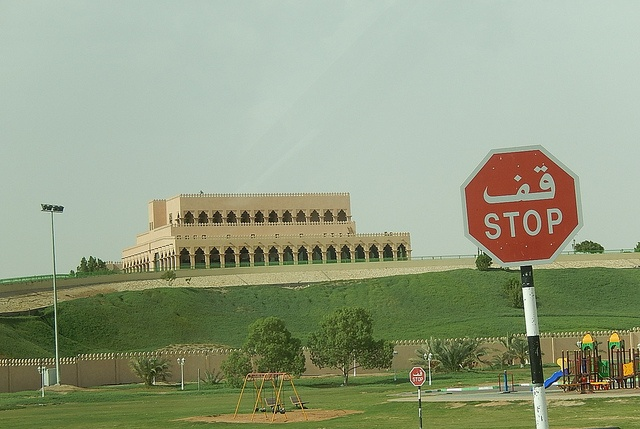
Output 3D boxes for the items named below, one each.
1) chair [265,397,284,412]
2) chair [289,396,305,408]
[{"bbox_3d":[-3.244,13.672,88.677,1.328,1.299,2.091,-3,-14,-2],"label":"chair"},{"bbox_3d":[-1.728,13.972,91.903,0.495,0.832,1.343,-8,-9,25],"label":"chair"}]
